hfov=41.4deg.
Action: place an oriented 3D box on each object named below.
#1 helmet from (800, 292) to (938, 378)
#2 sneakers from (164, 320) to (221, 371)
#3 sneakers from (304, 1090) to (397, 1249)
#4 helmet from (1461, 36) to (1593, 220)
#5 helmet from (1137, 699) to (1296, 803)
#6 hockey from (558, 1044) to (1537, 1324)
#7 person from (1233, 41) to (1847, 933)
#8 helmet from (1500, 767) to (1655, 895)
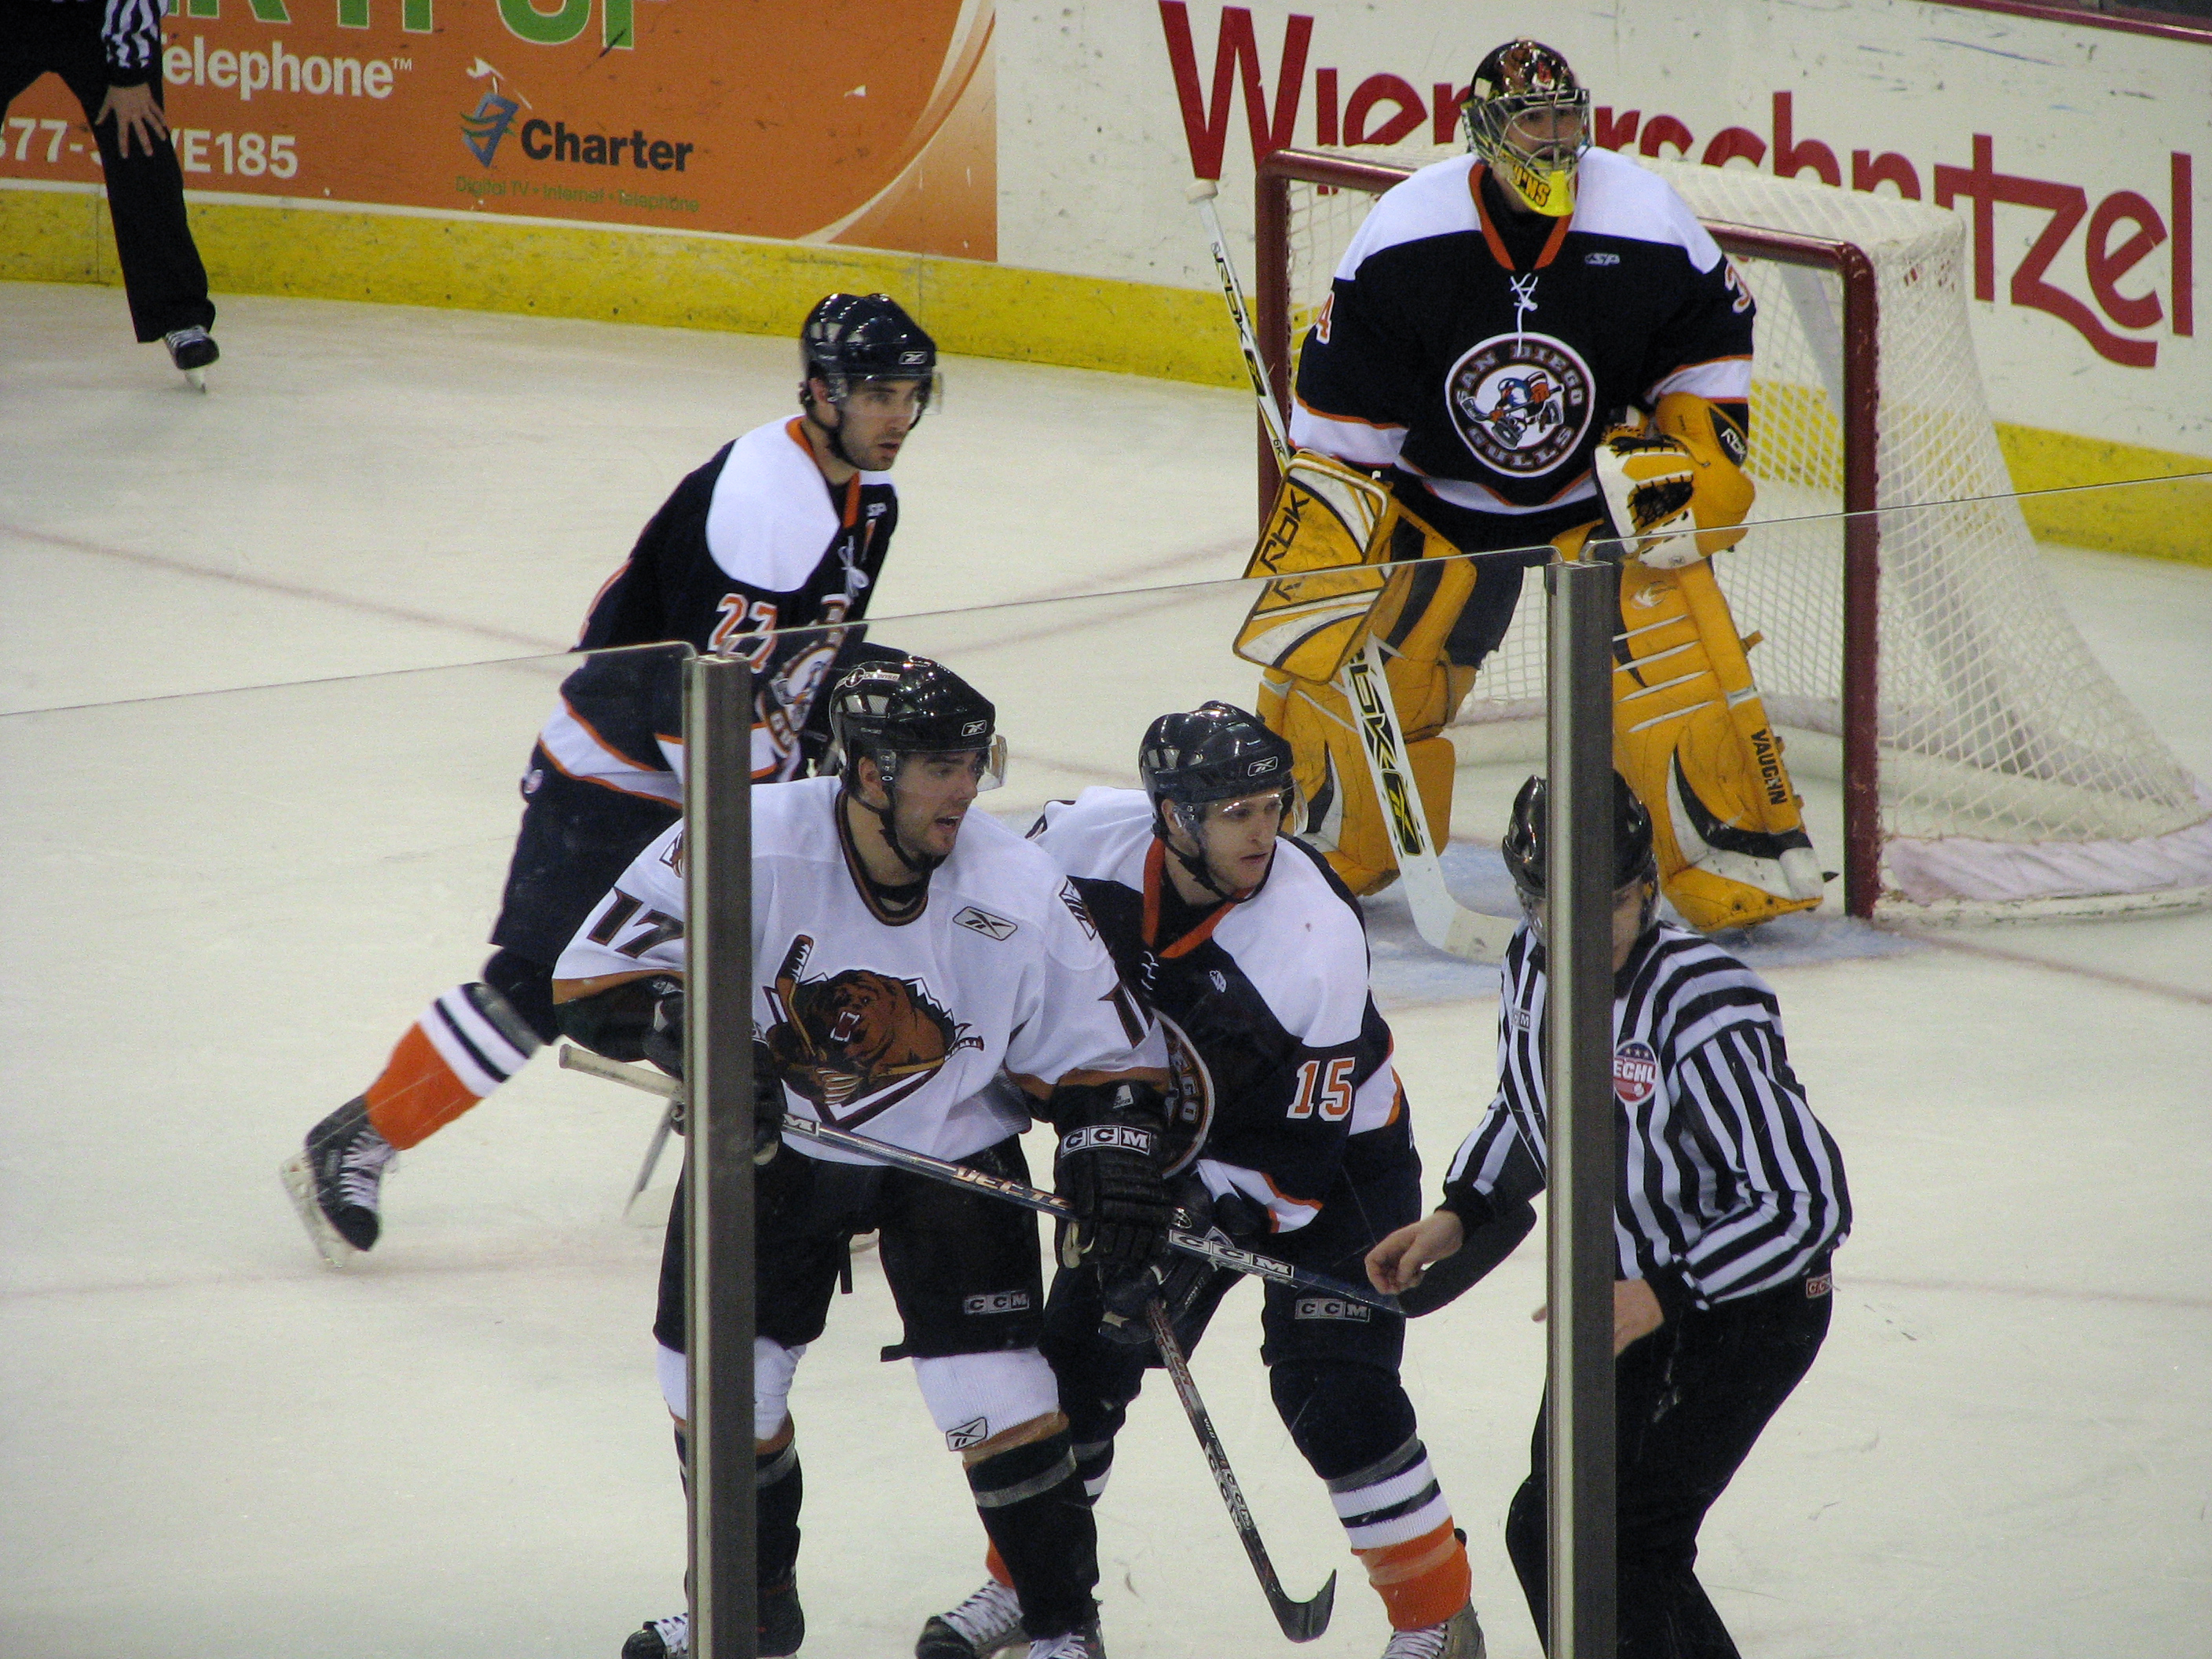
[{"bbox_3d":[-0.310,-0.634,3.814,0.152,0.150,0.127,-7,14,7],"label":"helmet"},{"bbox_3d":[-2.434,-1.267,7.811,0.129,0.142,0.268,-3,16,-16],"label":"sneakers"},{"bbox_3d":[-0.644,0.300,2.554,0.065,0.151,0.051,-5,9,38],"label":"sneakers"},{"bbox_3d":[0.589,-0.998,4.128,0.168,0.200,0.218,-10,23,-15],"label":"helmet"},{"bbox_3d":[0.099,-0.065,2.619,0.106,0.099,0.088,-8,11,20],"label":"helmet"},{"bbox_3d":[-0.074,0.307,2.603,0.696,0.097,0.033,16,43,-12],"label":"hockey"},{"bbox_3d":[0.607,-0.456,4.226,0.865,1.253,0.724,4,20,17],"label":"person"},{"bbox_3d":[0.425,0.004,2.605,0.096,0.122,0.112,0,1,7],"label":"helmet"}]
